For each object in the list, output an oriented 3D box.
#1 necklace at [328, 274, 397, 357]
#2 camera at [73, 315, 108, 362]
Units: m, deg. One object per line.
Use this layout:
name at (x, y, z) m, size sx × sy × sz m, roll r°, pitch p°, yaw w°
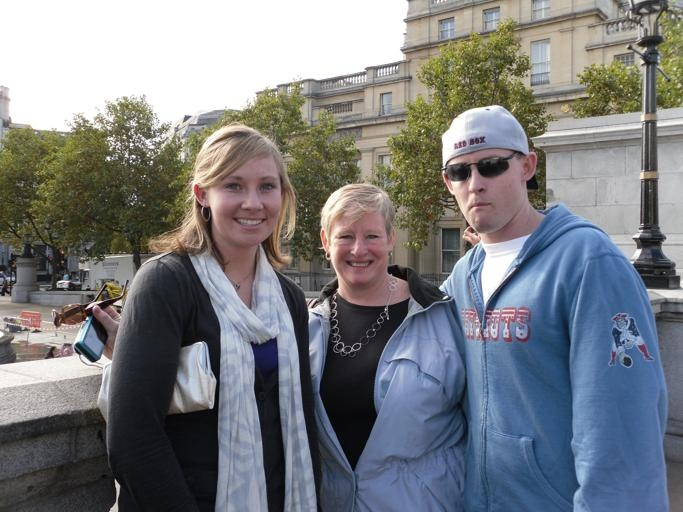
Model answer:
necklace at (0.098, 0.394, 4.349) m, size 0.316 × 0.507 × 0.087 m, roll -7°, pitch -27°, yaw 31°
camera at (-1.361, 0.449, 3.831) m, size 0.060 × 0.158 × 0.264 m, roll -22°, pitch 32°, yaw -20°
